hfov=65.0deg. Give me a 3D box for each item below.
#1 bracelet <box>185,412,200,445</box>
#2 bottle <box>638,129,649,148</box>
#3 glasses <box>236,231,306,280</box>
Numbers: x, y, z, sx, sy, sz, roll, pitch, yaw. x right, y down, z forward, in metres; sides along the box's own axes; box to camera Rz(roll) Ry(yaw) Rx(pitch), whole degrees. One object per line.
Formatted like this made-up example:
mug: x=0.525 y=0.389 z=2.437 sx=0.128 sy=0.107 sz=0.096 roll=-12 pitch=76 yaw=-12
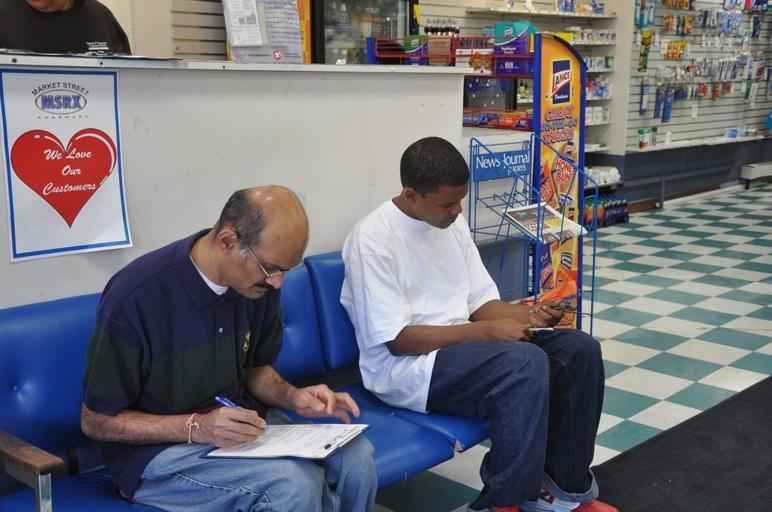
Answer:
bracelet: x=-0.667 y=0.597 z=2.096 sx=0.053 sy=0.082 sz=0.020 roll=-3 pitch=-13 yaw=17
bottle: x=3.564 y=-1.612 z=8.358 sx=0.226 sy=0.254 sz=0.113 roll=-11 pitch=20 yaw=-27
glasses: x=-0.398 y=-0.020 z=2.061 sx=0.145 sy=0.043 sz=0.146 roll=50 pitch=22 yaw=14
